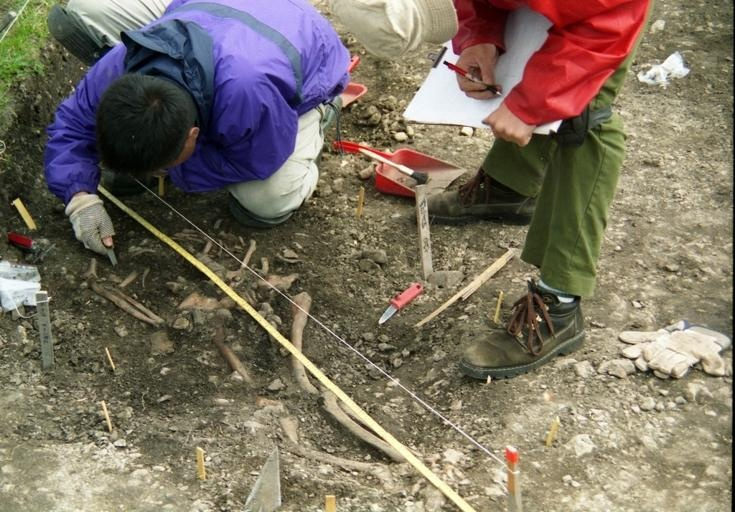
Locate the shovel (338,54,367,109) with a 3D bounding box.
[{"bbox_3d":[-0.112,-1.381,5.333,0.317,0.085,0.460,11,100,19],"label":"shovel"}]

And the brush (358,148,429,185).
[{"bbox_3d":[0.153,-0.618,4.501,0.514,0.110,0.105,23,74,-18],"label":"brush"}]
